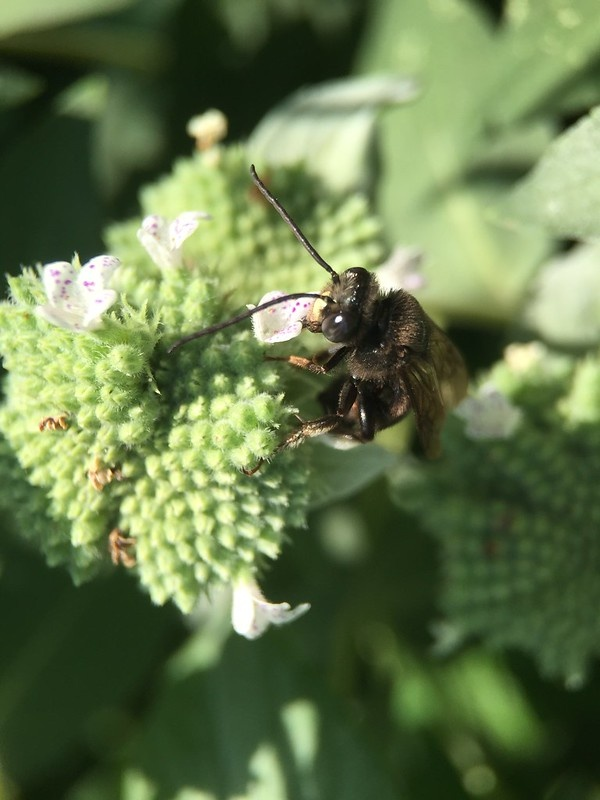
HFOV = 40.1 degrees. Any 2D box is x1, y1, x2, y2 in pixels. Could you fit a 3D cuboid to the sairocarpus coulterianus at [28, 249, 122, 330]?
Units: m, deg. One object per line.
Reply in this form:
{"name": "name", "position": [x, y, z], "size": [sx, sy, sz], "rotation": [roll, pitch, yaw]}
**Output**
{"name": "sairocarpus coulterianus", "position": [-0.159, -0.077, 0.612], "size": [0.064, 0.061, 0.063], "rotation": [-20, 70, -5]}

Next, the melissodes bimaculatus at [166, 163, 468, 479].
{"name": "melissodes bimaculatus", "position": [0.082, -0.051, 0.796], "size": [0.351, 0.117, 0.222], "rotation": [19, 44, -32]}
